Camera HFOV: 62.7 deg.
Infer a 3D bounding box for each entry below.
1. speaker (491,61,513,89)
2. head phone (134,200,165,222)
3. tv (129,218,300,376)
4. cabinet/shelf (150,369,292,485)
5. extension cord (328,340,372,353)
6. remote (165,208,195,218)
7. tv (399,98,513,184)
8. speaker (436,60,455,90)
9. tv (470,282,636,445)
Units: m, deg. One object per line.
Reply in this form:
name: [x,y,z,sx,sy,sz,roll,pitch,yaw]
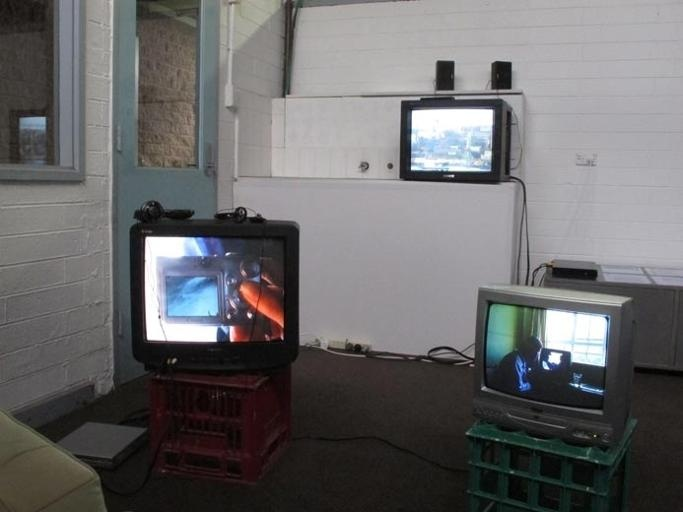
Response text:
speaker: [1.304,-1.461,4.548,0.152,0.217,0.076,3,12,6]
head phone: [-0.920,-0.222,2.679,0.125,0.130,0.096,22,26,38]
tv: [-0.602,0.207,2.825,0.824,0.764,0.459,-1,1,0]
cabinet/shelf: [-0.562,0.726,2.731,0.526,0.428,0.544,0,1,9]
extension cord: [0.051,0.680,4.180,0.333,0.074,0.078,5,13,15]
remote: [-0.792,-0.197,2.714,0.133,0.050,0.092,-5,14,-26]
tv: [0.882,-0.774,4.243,0.971,0.830,0.566,1,2,19]
speaker: [0.867,-1.505,4.675,0.152,0.252,0.109,3,12,8]
tv: [0.887,0.442,2.441,0.596,0.579,0.412,4,6,24]
